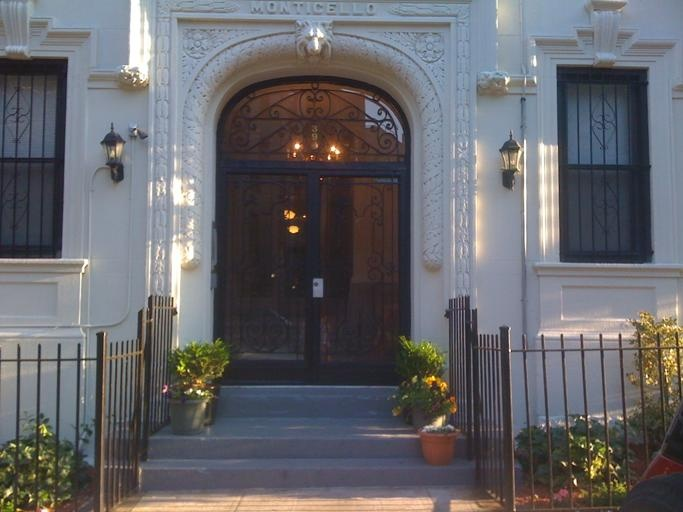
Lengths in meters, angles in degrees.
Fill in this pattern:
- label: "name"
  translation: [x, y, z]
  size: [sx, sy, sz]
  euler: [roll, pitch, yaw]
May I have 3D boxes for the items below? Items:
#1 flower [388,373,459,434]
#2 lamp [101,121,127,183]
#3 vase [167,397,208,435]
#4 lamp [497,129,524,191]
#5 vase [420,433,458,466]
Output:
- label: "flower"
  translation: [1.000, 1.733, 11.492]
  size: [0.650, 0.607, 0.657]
  euler: [-15, -20, 43]
- label: "lamp"
  translation: [-2.834, -1.290, 12.017]
  size: [0.284, 0.740, 0.269]
  euler: [-1, -3, -10]
- label: "vase"
  translation: [-1.788, 1.875, 11.369]
  size: [0.391, 0.314, 0.400]
  euler: [-7, -16, 29]
- label: "lamp"
  translation: [2.173, -1.223, 12.216]
  size: [0.294, 0.730, 0.318]
  euler: [-2, -4, 11]
- label: "vase"
  translation: [1.132, 2.176, 11.121]
  size: [0.504, 0.388, 0.514]
  euler: [0, -2, -11]
